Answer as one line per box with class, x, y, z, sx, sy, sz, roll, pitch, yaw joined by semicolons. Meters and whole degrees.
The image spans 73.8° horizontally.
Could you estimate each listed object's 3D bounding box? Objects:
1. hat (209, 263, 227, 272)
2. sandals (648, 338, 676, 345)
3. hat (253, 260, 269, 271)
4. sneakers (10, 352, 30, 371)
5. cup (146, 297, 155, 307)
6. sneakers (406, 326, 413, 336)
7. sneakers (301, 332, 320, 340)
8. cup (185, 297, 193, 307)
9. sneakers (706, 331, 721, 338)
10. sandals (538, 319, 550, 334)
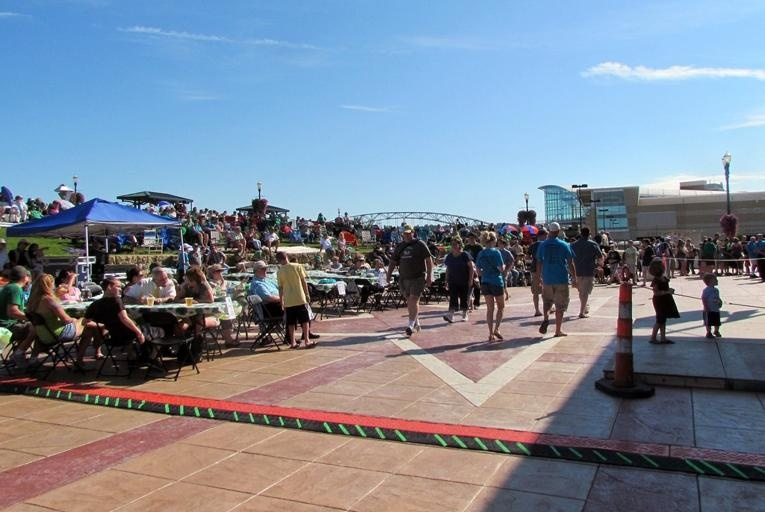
hat;-4.079;0.289;12.687;0.377;0.101;0.354;-3;2;-2
sandals;4.696;1.445;8.617;0.469;0.067;0.257;-2;6;0
hat;-2.476;0.236;10.752;0.338;0.147;0.246;-17;13;-27
sneakers;-6.050;1.766;8.561;0.286;0.278;0.438;2;-1;-12
cup;-3.957;0.773;8.699;0.172;0.137;0.200;1;6;0
sneakers;0.564;1.559;10.500;0.092;0.231;0.160;2;35;8
sneakers;-1.441;1.677;10.744;0.539;0.195;0.171;-2;0;0
cup;-3.229;0.770;8.543;0.157;0.105;0.147;-2;4;0
sneakers;5.796;1.390;8.976;0.127;0.049;0.156;-5;4;13
sandals;3.079;1.369;9.756;0.229;0.353;0.162;9;-6;14
